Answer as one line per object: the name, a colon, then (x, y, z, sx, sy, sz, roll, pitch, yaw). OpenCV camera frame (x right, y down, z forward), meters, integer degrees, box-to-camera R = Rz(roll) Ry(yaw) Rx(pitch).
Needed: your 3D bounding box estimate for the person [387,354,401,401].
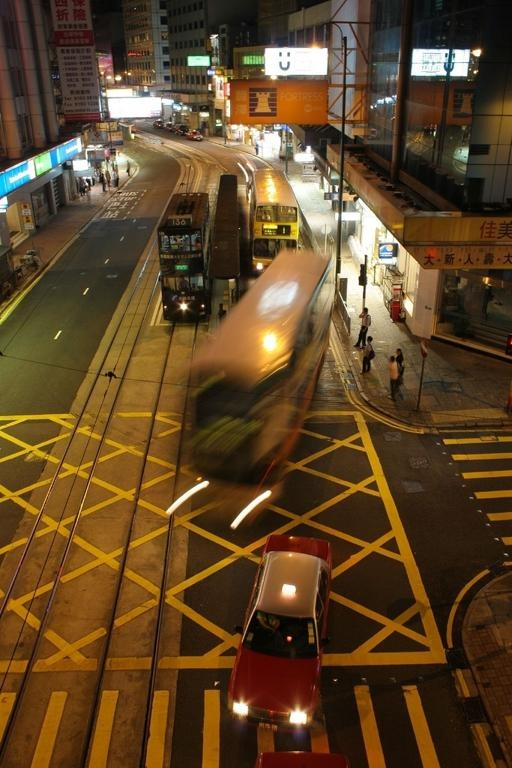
person: (4.951, -0.345, 18.028, 0.346, 1.504, 1.046, 7, 26, 19)

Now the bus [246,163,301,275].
bus: (1.182, -11.662, 32.569, 2.330, 2.889, 9.616, 1, 43, 1)

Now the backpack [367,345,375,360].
backpack: (4.392, -1.293, 19.465, 0.289, 0.152, 0.497, 0, 46, 2)

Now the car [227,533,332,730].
car: (0.562, 3.887, 8.722, 1.269, 1.342, 3.701, 3, 19, 12)

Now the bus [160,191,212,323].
bus: (-3.329, -7.832, 26.312, 2.217, 4.226, 7.425, 2, 40, 1)
